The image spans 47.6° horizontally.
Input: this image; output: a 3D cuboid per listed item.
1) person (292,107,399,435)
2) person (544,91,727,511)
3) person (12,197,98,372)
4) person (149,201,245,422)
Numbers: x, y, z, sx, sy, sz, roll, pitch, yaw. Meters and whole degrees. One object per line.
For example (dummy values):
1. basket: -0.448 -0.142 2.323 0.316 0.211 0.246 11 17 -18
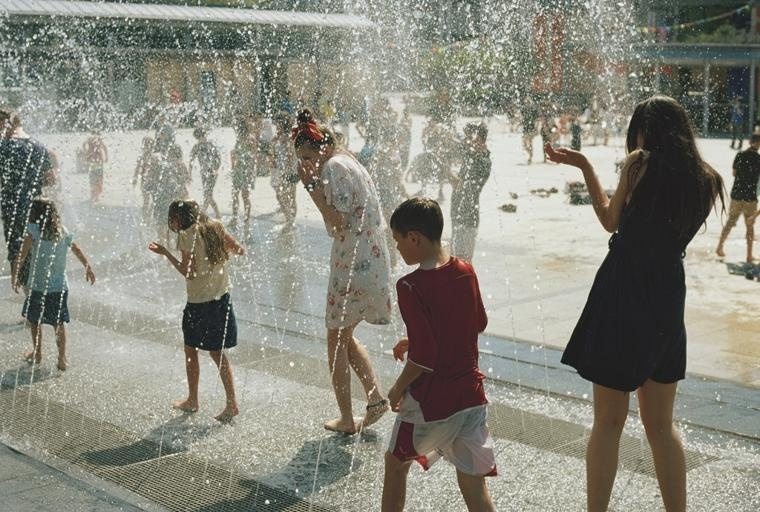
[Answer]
1. person: -0.284 0.130 6.721 0.727 2.488 0.522 -1 11 -4
2. person: 1.661 0.328 5.607 0.912 2.658 0.610 2 12 12
3. person: -3.106 0.213 8.028 0.660 1.503 0.560 3 12 16
4. person: -1.438 0.424 7.101 0.640 1.722 0.429 4 12 19
